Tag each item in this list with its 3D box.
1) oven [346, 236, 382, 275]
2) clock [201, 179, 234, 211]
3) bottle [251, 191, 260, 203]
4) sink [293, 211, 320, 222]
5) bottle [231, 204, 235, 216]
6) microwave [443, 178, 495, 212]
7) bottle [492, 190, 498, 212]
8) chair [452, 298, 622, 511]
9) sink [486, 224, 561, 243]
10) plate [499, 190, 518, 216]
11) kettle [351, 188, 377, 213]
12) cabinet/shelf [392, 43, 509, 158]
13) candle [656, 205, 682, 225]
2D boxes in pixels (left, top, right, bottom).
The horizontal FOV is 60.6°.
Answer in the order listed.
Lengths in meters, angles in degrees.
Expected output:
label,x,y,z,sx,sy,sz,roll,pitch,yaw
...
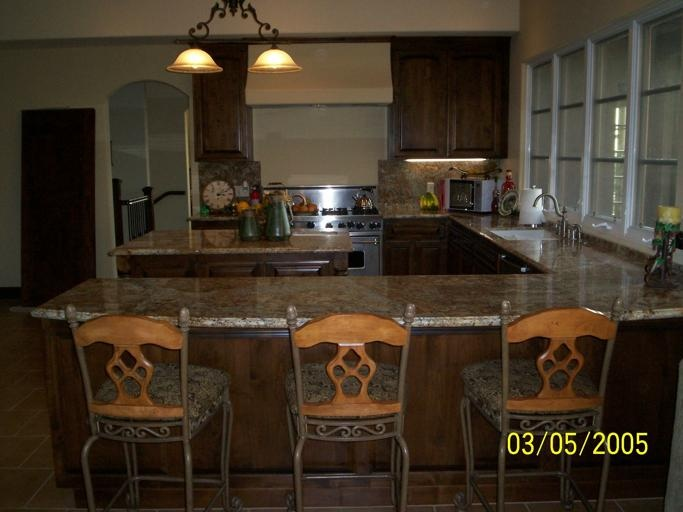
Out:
label,x,y,z,sx,sy,sz,roll,pitch,yaw
oven,0.270,-0.019,6.483,0.399,0.555,0.392,1,4,-1
clock,-1.456,-0.710,6.857,0.385,0.387,0.042,1,-2,-3
bottle,-0.968,-0.699,6.785,0.085,0.150,0.209,1,10,14
sink,-0.364,-0.426,6.411,0.287,0.080,0.221,-2,10,-1
bottle,-1.227,-0.540,6.694,0.042,0.115,0.131,-5,10,-14
microwave,1.384,-0.669,6.404,0.360,0.406,0.616,-7,14,-29
bottle,1.651,-0.597,6.295,0.065,0.218,0.073,3,11,27
chair,0.950,0.765,2.882,0.719,1.245,0.655,-1,10,3
sink,1.576,-0.209,5.190,0.323,0.108,0.221,4,19,20
plate,1.743,-0.551,6.070,0.244,0.255,0.187,-2,10,-2
kettle,0.261,-0.638,6.724,0.245,0.170,0.338,-1,5,-11
cabinet/shelf,1.197,-1.765,6.403,1.147,1.078,0.447,0,7,2
candle,1.846,-0.241,3.323,0.116,0.087,0.119,7,10,35
